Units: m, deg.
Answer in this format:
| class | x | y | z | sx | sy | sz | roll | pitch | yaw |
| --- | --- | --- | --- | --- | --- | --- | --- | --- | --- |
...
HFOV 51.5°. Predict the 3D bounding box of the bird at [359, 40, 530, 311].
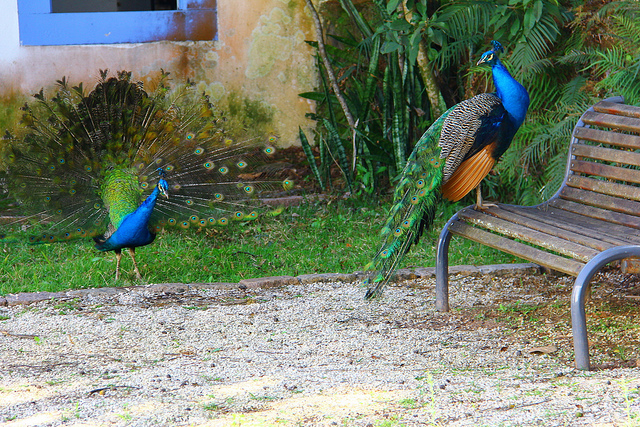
| class | x | y | z | sx | sy | sz | roll | pitch | yaw |
| --- | --- | --- | --- | --- | --- | --- | --- | --- | --- |
| bird | 0.864 | -0.237 | 4.805 | 1.248 | 1.710 | 0.430 | -16 | 29 | -27 |
